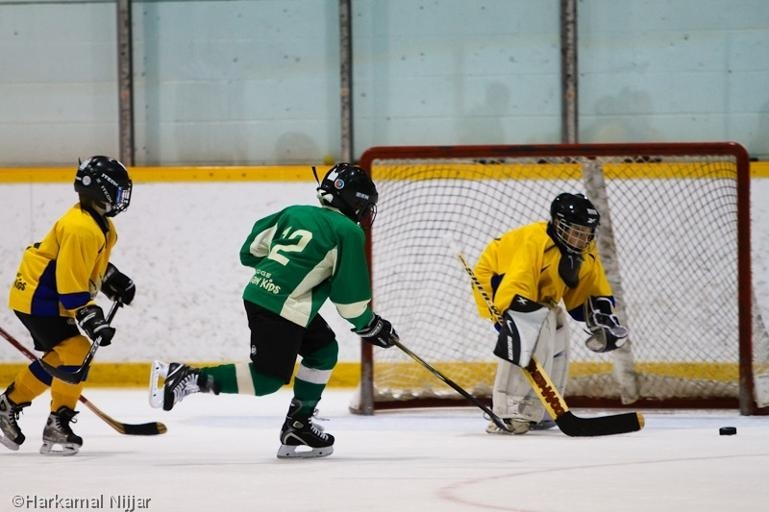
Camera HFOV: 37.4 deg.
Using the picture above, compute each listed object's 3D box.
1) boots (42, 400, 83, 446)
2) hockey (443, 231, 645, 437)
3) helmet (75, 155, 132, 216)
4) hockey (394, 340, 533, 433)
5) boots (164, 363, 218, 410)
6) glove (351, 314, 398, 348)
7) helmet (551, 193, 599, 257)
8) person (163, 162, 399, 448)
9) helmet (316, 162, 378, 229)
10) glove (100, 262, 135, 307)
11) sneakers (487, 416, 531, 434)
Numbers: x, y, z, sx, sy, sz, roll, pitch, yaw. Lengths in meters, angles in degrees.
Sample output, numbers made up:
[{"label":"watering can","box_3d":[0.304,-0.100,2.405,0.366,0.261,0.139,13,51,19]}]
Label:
[{"label":"boots","box_3d":[-1.965,1.025,6.843,0.111,0.246,0.271,-6,-17,44]},{"label":"hockey","box_3d":[1.121,0.534,7.647,0.495,0.047,1.650,3,34,-30]},{"label":"helmet","box_3d":[-1.760,-0.417,6.951,0.364,0.358,0.289,2,-7,-4]},{"label":"hockey","box_3d":[0.517,0.908,7.779,0.889,0.129,0.099,35,38,5]},{"label":"boots","box_3d":[-1.140,0.700,6.600,0.205,0.149,0.443,5,28,-1]},{"label":"glove","box_3d":[-0.015,0.446,6.809,0.275,0.114,0.203,48,32,21]},{"label":"helmet","box_3d":[1.235,-0.128,7.254,0.256,0.284,0.313,21,-13,9]},{"label":"person","box_3d":[-0.575,0.313,6.726,1.310,1.734,0.383,1,5,-10]},{"label":"helmet","box_3d":[-0.235,-0.380,6.918,0.425,0.370,0.321,8,3,-31]},{"label":"glove","box_3d":[-1.660,0.172,7.077,0.291,0.165,0.114,35,28,-2]},{"label":"sneakers","box_3d":[0.803,1.087,7.238,0.313,0.124,0.103,-8,-6,7]}]
